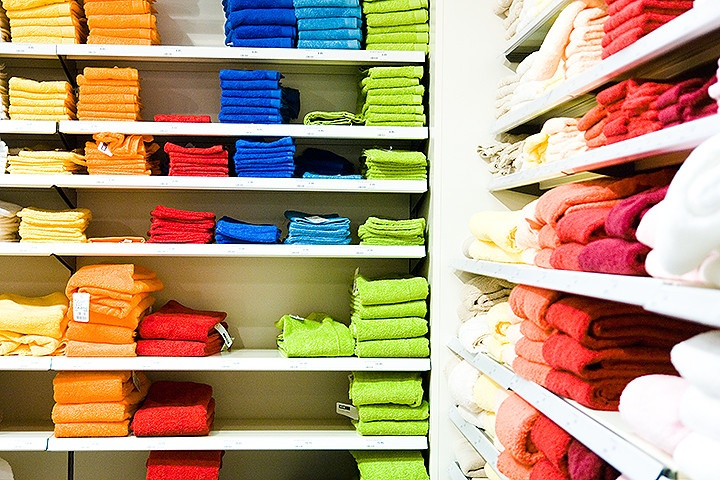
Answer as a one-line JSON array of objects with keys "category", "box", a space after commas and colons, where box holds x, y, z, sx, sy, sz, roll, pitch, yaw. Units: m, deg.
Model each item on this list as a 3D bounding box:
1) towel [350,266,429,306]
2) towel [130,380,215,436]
[{"category": "towel", "box": [0.175, 0.226, 3.042, 0.454, 0.121, 0.467, 4, -24, -15]}, {"category": "towel", "box": [-0.998, 0.911, 3.066, 0.401, 0.190, 0.317, 3, 8, -6]}]
